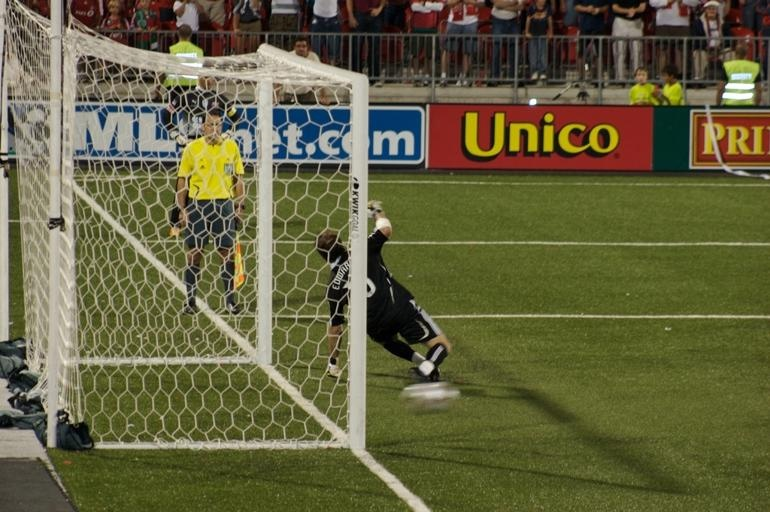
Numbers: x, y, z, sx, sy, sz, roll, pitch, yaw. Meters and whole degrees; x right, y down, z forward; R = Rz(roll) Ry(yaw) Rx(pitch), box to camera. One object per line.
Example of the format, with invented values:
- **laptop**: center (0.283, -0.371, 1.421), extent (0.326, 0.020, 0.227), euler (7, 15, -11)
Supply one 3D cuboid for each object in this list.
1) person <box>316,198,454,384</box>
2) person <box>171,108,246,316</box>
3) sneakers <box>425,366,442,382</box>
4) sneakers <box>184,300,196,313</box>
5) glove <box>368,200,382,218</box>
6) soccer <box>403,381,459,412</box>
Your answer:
- **person**: center (-0.055, 0.415, 15.035), extent (1.444, 2.004, 0.707), euler (-1, 6, -1)
- **person**: center (-2.217, -0.559, 16.964), extent (0.856, 2.621, 0.754), euler (-2, 6, -9)
- **sneakers**: center (0.539, 1.322, 14.999), extent (0.106, 0.166, 0.324), euler (3, 8, 28)
- **sneakers**: center (-2.490, 0.651, 17.004), extent (0.127, 0.140, 0.162), euler (2, 1, 4)
- **glove**: center (-0.102, -0.531, 15.278), extent (0.127, 0.182, 0.197), euler (1, 0, -35)
- **soccer**: center (0.481, 1.485, 14.189), extent (0.529, 0.320, 0.213), euler (-1, 6, -1)
